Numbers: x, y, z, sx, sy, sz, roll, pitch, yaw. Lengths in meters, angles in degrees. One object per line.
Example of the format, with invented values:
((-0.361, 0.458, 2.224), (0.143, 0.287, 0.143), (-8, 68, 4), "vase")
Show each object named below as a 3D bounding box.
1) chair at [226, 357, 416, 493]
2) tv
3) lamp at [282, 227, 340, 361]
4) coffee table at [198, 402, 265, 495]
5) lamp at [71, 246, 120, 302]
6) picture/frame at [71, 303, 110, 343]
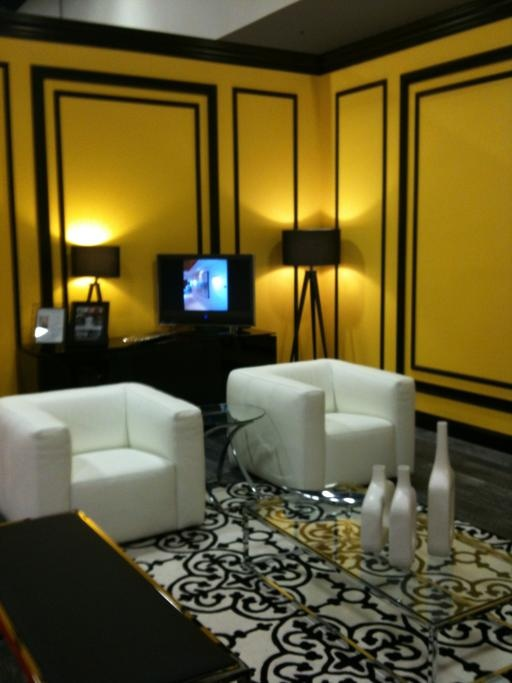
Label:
((0.373, 0.472, 3.474), (0.938, 0.642, 0.725), (-3, 6, -25), "chair")
((-0.405, -0.438, 4.727), (0.560, 0.436, 0.058), (0, 7, -7), "tv")
((0.504, -0.417, 5.262), (0.548, 1.221, 0.622), (0, 5, 3), "lamp")
((-0.192, 0.598, 3.374), (0.421, 0.498, 0.433), (0, 2, -20), "coffee table")
((-1.248, -0.520, 4.442), (0.330, 0.431, 0.300), (-3, 6, -28), "lamp")
((-1.273, -0.142, 4.371), (0.276, 0.333, 0.041), (1, -5, -12), "picture/frame")
